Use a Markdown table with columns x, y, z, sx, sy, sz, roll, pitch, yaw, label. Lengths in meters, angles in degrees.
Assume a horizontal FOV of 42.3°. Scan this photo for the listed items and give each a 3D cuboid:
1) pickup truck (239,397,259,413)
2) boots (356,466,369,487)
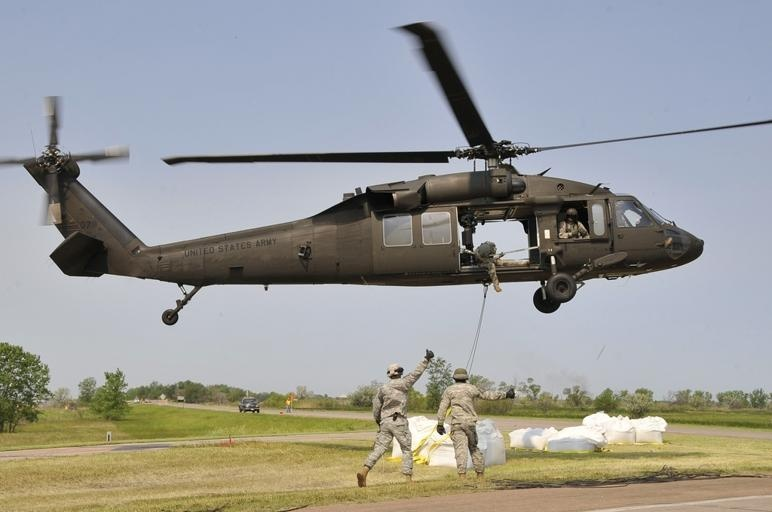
| x | y | z | sx | sy | sz | roll | pitch | yaw | label |
| --- | --- | --- | --- | --- | --- | --- | --- | --- | --- |
| -9.478 | 10.321 | 68.774 | 1.009 | 0.628 | 1.601 | 3 | -11 | -18 | pickup truck |
| -0.700 | 6.419 | 28.851 | 0.277 | 0.600 | 0.346 | 3 | 7 | 30 | boots |
